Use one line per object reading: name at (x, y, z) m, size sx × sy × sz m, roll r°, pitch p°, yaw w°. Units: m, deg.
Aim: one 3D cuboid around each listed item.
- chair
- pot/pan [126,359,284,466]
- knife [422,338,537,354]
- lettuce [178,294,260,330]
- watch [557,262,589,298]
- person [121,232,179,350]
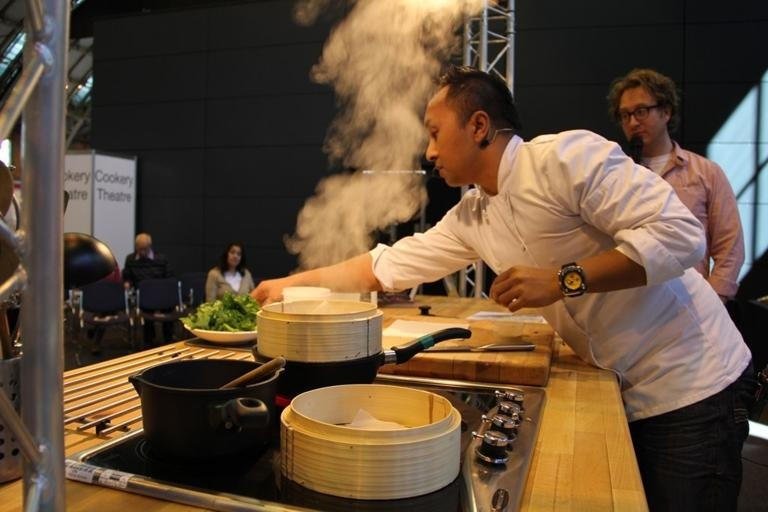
chair at (-2.455, 0.577, 6.026) m, size 0.942 × 0.742 × 1.268 m, roll 1°, pitch 1°, yaw -25°
pot/pan at (-0.350, 0.314, 1.225) m, size 0.307 × 0.138 × 0.240 m, roll 7°, pitch -2°, yaw 38°
knife at (0.265, 0.255, 1.728) m, size 0.247 × 0.022 × 0.053 m, roll -1°, pitch 6°, yaw -6°
lettuce at (-0.538, 0.201, 2.091) m, size 0.184 × 0.093 × 0.198 m, roll 4°, pitch 1°, yaw -30°
watch at (0.497, 0.047, 1.630) m, size 0.053 × 0.100 × 0.083 m, roll -9°, pitch 22°, yaw 20°
person at (-2.424, 0.433, 6.362) m, size 0.467 × 1.295 × 0.403 m, roll -7°, pitch -9°, yaw -18°
